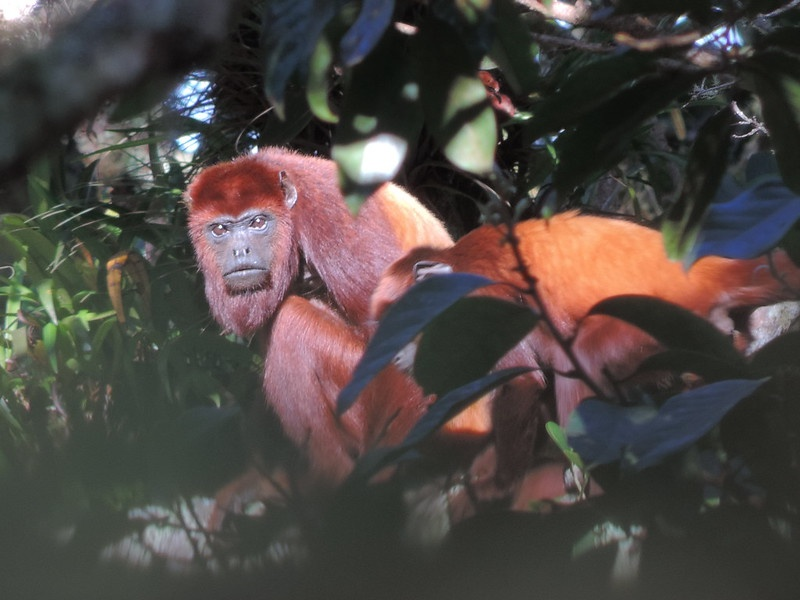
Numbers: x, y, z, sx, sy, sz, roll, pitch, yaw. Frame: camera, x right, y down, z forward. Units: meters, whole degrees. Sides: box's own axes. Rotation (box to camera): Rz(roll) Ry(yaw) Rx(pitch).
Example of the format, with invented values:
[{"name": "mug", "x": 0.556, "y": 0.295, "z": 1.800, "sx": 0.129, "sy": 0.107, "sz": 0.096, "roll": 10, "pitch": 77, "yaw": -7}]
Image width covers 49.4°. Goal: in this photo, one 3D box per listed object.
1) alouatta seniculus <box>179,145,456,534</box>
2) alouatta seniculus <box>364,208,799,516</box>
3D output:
[{"name": "alouatta seniculus", "x": -0.076, "y": 0.043, "z": 1.142, "sx": 0.315, "sy": 0.446, "sz": 0.371, "roll": -5, "pitch": -9, "yaw": 32}, {"name": "alouatta seniculus", "x": 0.198, "y": 0.021, "z": 0.983, "sx": 0.420, "sy": 0.356, "sz": 0.237, "roll": -9, "pitch": 28, "yaw": -20}]
